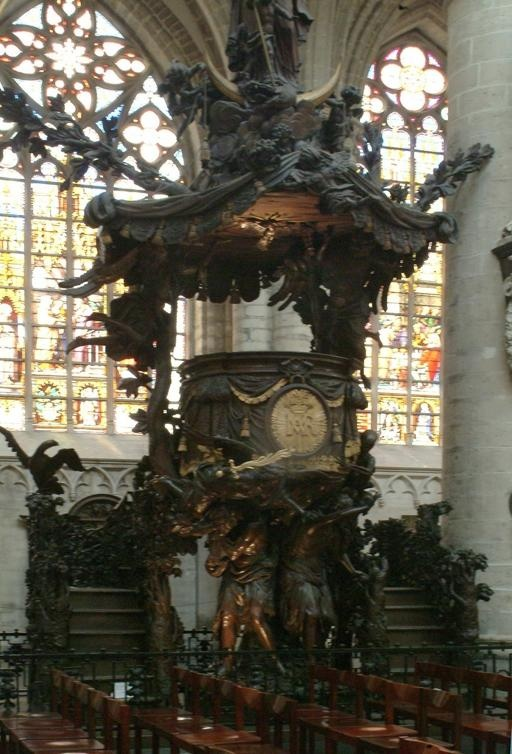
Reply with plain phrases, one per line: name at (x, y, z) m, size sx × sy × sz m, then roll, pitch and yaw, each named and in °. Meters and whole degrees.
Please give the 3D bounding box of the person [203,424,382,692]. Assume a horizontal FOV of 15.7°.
person at (0.336, 1.765, 19.154) m, size 1.754 × 1.561 × 0.971 m, roll -4°, pitch -3°, yaw -7°
